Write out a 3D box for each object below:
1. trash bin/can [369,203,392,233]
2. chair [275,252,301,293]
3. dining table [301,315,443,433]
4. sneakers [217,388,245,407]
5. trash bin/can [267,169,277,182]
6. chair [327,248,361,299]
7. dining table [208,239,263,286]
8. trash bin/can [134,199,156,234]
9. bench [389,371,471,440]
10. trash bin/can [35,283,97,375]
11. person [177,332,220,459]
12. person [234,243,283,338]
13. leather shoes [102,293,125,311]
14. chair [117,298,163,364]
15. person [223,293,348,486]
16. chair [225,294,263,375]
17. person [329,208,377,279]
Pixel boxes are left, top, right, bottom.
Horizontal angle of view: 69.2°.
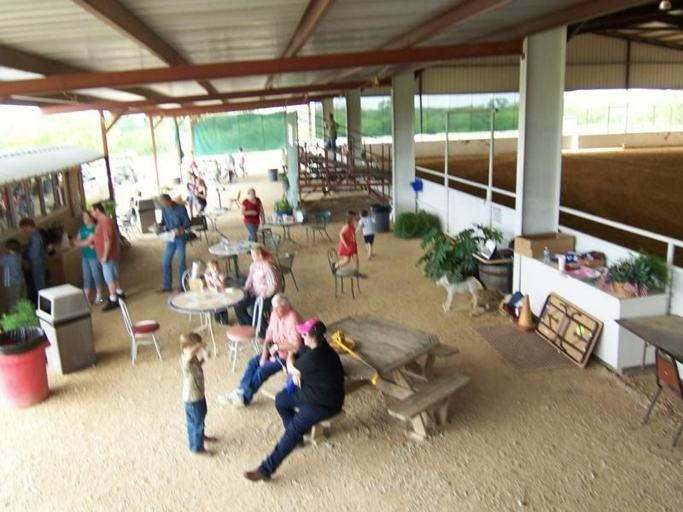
[{"bbox_3d":[1.285,-1.230,15.293,0.757,0.962,0.813,2,15,15],"label":"trash bin/can"},{"bbox_3d":[-1.210,0.334,10.204,0.627,0.819,0.653,-6,-11,28],"label":"chair"},{"bbox_3d":[0.564,1.294,6.435,0.991,0.550,1.375,-19,29,-35],"label":"dining table"},{"bbox_3d":[-1.477,1.921,6.718,0.465,0.223,0.167,7,6,22],"label":"sneakers"},{"bbox_3d":[-3.903,-4.570,28.147,0.649,0.675,0.524,-3,11,-23],"label":"trash bin/can"},{"bbox_3d":[0.075,0.336,10.359,0.640,0.992,0.684,0,5,-26],"label":"chair"},{"bbox_3d":[-2.330,0.090,10.347,1.130,0.571,1.168,-8,-5,-33],"label":"dining table"},{"bbox_3d":[-6.528,-1.280,16.392,0.696,1.133,0.689,-8,15,-28],"label":"trash bin/can"},{"bbox_3d":[1.069,1.925,6.188,1.204,0.590,0.436,-14,18,-37],"label":"bench"},{"bbox_3d":[-4.254,1.173,7.592,0.779,1.520,0.797,-13,25,-36],"label":"trash bin/can"},{"bbox_3d":[-1.719,1.626,5.885,0.357,1.555,0.347,-8,15,-22],"label":"person"},{"bbox_3d":[-1.318,0.495,7.803,0.611,1.353,0.753,10,30,17],"label":"person"},{"bbox_3d":[-4.453,0.896,9.641,0.156,0.224,0.482,12,22,25],"label":"leather shoes"},{"bbox_3d":[-3.205,1.149,7.901,0.547,1.026,0.494,-7,9,-19],"label":"chair"},{"bbox_3d":[-0.457,1.598,5.696,1.018,1.744,0.643,-3,14,1],"label":"person"},{"bbox_3d":[-1.461,1.147,7.498,0.518,1.006,0.440,-5,13,-20],"label":"chair"},{"bbox_3d":[0.202,-0.251,11.361,1.094,2.402,1.129,-2,16,0],"label":"person"}]
